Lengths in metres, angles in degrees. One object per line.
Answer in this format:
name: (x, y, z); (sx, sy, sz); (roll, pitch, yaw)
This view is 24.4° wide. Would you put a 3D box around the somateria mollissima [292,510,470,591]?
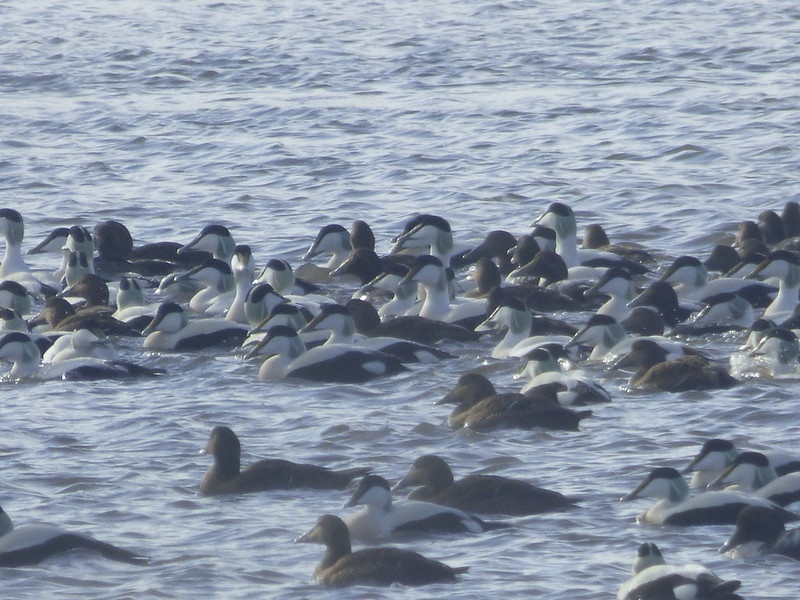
somateria mollissima: (-0.241, 2.701, 19.883); (2.161, 0.667, 0.658); (-3, 4, 31)
